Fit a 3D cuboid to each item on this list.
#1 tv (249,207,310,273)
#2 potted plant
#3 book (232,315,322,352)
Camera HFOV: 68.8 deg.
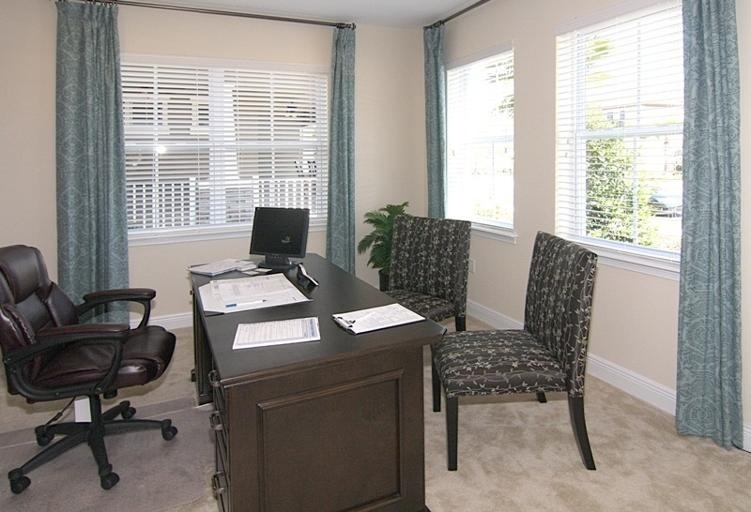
[{"bbox_3d":[-0.779,-0.153,4.373,0.511,0.465,0.287,3,22,-42],"label":"tv"},{"bbox_3d":[0.125,-0.097,5.654,0.623,0.864,0.620,-6,-1,-42],"label":"potted plant"},{"bbox_3d":[-0.582,0.433,3.102,0.478,0.016,0.339,-5,17,-10],"label":"book"}]
